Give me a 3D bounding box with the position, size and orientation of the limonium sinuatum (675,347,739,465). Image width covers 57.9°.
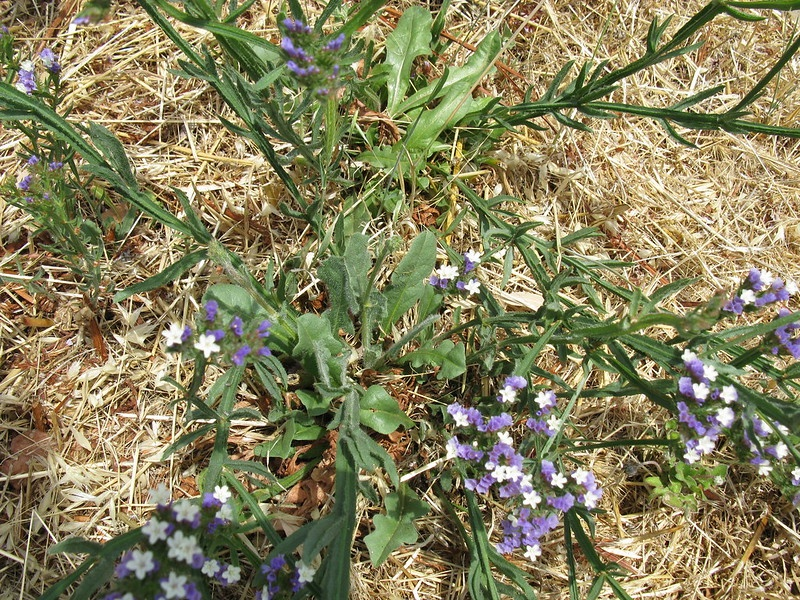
[{"bbox_3d":[1.333,0.492,3.163,0.188,0.562,0.185,8,30,21],"label":"limonium sinuatum"}]

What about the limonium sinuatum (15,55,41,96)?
[{"bbox_3d":[-1.889,-1.126,3.737,0.121,0.195,0.213,-3,65,-34],"label":"limonium sinuatum"}]

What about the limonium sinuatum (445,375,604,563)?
[{"bbox_3d":[0.482,0.794,3.666,0.840,0.412,0.888,-33,75,-17],"label":"limonium sinuatum"}]

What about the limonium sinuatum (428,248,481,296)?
[{"bbox_3d":[0.290,-0.108,3.777,0.227,0.276,0.208,2,23,-3],"label":"limonium sinuatum"}]

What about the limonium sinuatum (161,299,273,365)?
[{"bbox_3d":[-0.763,0.170,3.053,0.422,0.372,0.277,14,50,-13],"label":"limonium sinuatum"}]
